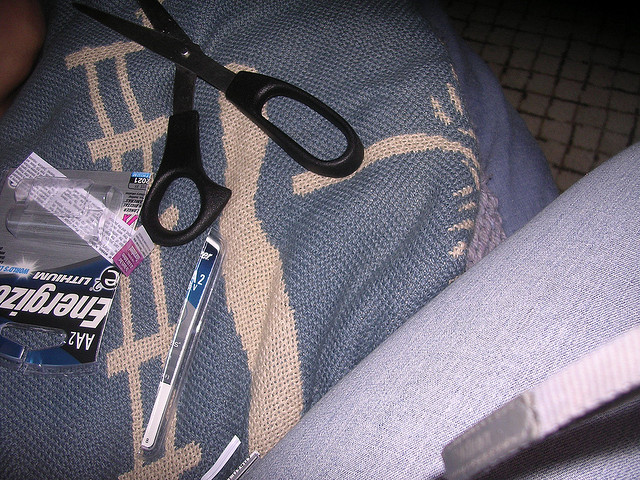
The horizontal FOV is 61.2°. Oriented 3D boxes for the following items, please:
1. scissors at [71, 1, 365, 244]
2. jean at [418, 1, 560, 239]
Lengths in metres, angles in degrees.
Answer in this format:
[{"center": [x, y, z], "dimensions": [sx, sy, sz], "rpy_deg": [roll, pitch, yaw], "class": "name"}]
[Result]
[{"center": [-0.107, -0.153, 0.527], "dimensions": [0.202, 0.085, 0.313], "rpy_deg": [-20, 73, -15], "class": "scissors"}, {"center": [0.196, -0.160, 0.665], "dimensions": [0.096, 0.014, 0.335], "rpy_deg": [-29, 67, 13], "class": "jean"}]
